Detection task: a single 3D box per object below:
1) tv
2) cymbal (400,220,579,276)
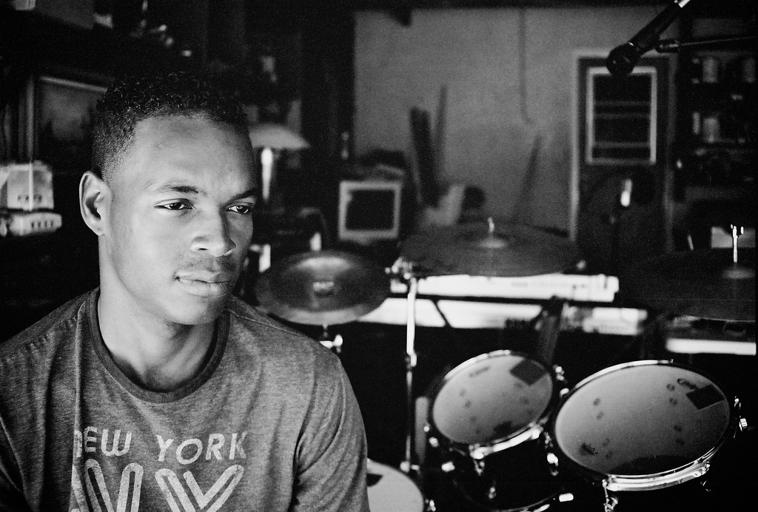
[{"bbox_3d":[-0.024,-0.165,2.779,0.226,0.203,0.021,0,5,4],"label":"tv"},{"bbox_3d":[0.378,-0.020,2.757,0.596,0.207,0.022,4,8,3],"label":"cymbal"}]
